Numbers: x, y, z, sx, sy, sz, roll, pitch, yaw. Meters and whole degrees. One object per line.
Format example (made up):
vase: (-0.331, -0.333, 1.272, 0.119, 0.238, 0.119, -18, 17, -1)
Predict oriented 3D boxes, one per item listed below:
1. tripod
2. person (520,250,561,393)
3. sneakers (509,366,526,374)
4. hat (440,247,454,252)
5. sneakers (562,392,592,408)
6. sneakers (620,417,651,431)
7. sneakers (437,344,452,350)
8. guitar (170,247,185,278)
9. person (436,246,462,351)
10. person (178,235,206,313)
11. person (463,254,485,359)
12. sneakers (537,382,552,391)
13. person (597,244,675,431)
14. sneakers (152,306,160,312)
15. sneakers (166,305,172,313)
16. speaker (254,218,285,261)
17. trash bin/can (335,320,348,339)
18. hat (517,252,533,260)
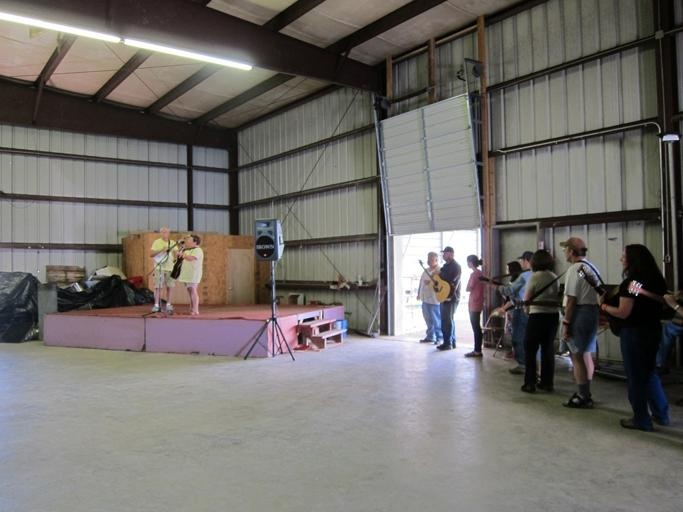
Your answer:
tripod: (-1.325, 0.951, 10.097, 0.908, 1.750, 1.336, -1, -1, -3)
person: (2.652, 0.877, 7.346, 0.484, 1.655, 0.439, -2, -1, 19)
sneakers: (2.698, 1.747, 8.385, 0.088, 0.113, 0.244, 6, -8, -31)
hat: (2.015, -0.137, 10.451, 0.178, 0.116, 0.134, 2, -3, 17)
sneakers: (2.937, 1.776, 6.770, 0.167, 0.153, 0.298, 6, -9, -31)
sneakers: (3.287, 1.880, 6.083, 0.265, 0.116, 0.123, 4, 3, 44)
sneakers: (1.932, 1.732, 10.398, 0.215, 0.106, 0.103, 7, -14, -23)
guitar: (-3.230, 0.131, 10.553, 0.121, 0.549, 0.301, 16, 5, -13)
person: (2.043, 0.794, 10.441, 0.461, 1.497, 0.460, -1, -1, 10)
person: (-2.989, 0.368, 10.726, 0.452, 1.560, 0.877, -1, -1, -14)
person: (2.363, 0.877, 9.733, 0.338, 1.430, 1.191, -2, -1, 14)
sneakers: (2.765, 1.790, 7.442, 0.073, 0.094, 0.193, 4, -12, -26)
person: (3.287, 0.899, 6.088, 0.705, 2.029, 0.394, -1, -1, 9)
sneakers: (-3.821, 1.090, 11.213, 0.156, 0.127, 0.164, -6, -7, 16)
sneakers: (-3.470, 1.058, 10.946, 0.120, 0.125, 0.207, 10, 10, -26)
speaker: (-1.325, -0.295, 10.048, 0.417, 0.768, 0.734, -2, 0, 4)
trash bin/can: (0.024, 1.623, 12.183, 0.315, 0.398, 0.330, 1, 3, 13)
hat: (3.086, -0.015, 9.150, 0.122, 0.105, 0.203, -1, 2, -5)
